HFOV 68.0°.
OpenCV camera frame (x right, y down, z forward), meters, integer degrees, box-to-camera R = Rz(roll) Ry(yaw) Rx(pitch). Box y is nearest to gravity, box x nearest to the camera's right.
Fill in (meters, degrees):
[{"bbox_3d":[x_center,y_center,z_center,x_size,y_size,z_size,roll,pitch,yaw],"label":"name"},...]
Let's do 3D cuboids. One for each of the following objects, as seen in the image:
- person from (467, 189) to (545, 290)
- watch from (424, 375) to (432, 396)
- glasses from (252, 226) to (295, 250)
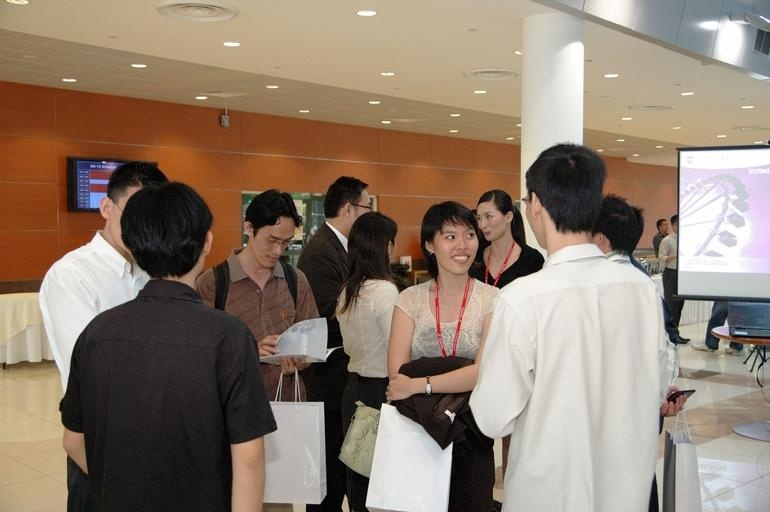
[{"bbox_3d":[0.920,-0.065,4.439,0.447,0.803,0.831,-1,-4,-39],"label":"person"},{"bbox_3d":[0.219,0.649,2.840,0.031,0.085,0.026,0,4,8],"label":"watch"},{"bbox_3d":[-0.640,-0.084,3.301,0.147,0.108,0.185,-1,-18,-45],"label":"glasses"}]
